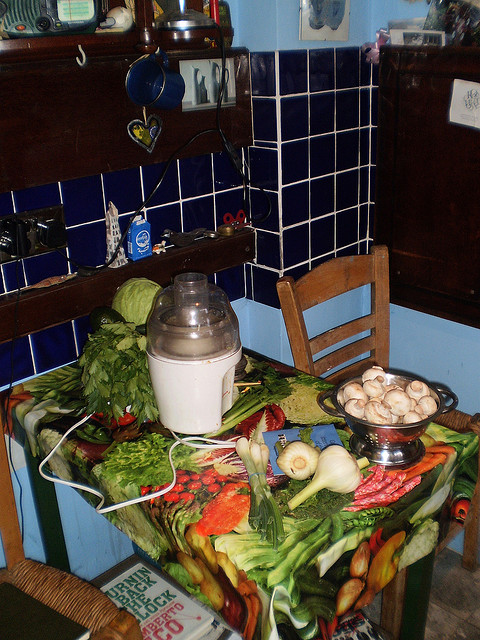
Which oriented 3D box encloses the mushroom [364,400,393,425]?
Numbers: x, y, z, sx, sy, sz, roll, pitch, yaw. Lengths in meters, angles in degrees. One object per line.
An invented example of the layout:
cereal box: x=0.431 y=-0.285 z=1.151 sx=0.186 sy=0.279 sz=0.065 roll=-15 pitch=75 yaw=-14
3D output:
mushroom: x=0.200 y=0.134 z=0.699 sx=0.033 sy=0.030 sz=0.032 roll=28 pitch=2 yaw=-38

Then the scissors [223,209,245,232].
scissors: x=-0.023 y=-0.316 z=1.525 sx=0.004 sy=0.059 sz=0.070 roll=6 pitch=24 yaw=43

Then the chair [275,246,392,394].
chair: x=0.238 y=-0.009 z=1.276 sx=0.218 sy=0.399 sz=0.239 roll=-27 pitch=46 yaw=-20

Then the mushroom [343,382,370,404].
mushroom: x=0.179 y=0.112 z=0.756 sx=0.025 sy=0.016 sz=0.031 roll=-5 pitch=38 yaw=1

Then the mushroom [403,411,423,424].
mushroom: x=0.251 y=0.144 z=0.702 sx=0.025 sy=0.016 sz=0.019 roll=-7 pitch=23 yaw=-7

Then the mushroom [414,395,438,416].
mushroom: x=0.275 y=0.127 z=0.719 sx=0.043 sy=0.017 sz=0.030 roll=-8 pitch=24 yaw=-9

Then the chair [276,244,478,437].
chair: x=0.314 y=0.031 z=1.143 sx=0.274 sy=0.699 sz=0.301 roll=-21 pitch=29 yaw=-35

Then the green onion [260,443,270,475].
green onion: x=0.042 y=0.231 z=0.791 sx=0.008 sy=0.036 sz=0.009 roll=-18 pitch=-5 yaw=39

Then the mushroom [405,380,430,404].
mushroom: x=0.270 y=0.107 z=0.742 sx=0.030 sy=0.031 sz=0.032 roll=-4 pitch=43 yaw=4

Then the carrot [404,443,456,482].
carrot: x=0.294 y=0.215 z=0.762 sx=0.077 sy=0.016 sz=0.042 roll=-17 pitch=18 yaw=-36

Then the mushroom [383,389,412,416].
mushroom: x=0.231 y=0.119 z=0.704 sx=0.034 sy=0.036 sz=0.042 roll=2 pitch=11 yaw=-4

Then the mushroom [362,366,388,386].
mushroom: x=0.233 y=0.092 z=0.822 sx=0.032 sy=0.025 sz=0.035 roll=-3 pitch=63 yaw=-3

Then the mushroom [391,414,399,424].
mushroom: x=0.231 y=0.147 z=0.719 sx=0.012 sy=0.012 sz=0.012 roll=-10 pitch=22 yaw=-14

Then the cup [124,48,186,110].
cup: x=-0.190 y=-0.541 z=1.103 sx=0.093 sy=0.155 sz=0.108 roll=13 pitch=32 yaw=13

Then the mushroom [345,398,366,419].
mushroom: x=0.175 y=0.132 z=0.731 sx=0.025 sy=0.010 sz=0.027 roll=4 pitch=56 yaw=7

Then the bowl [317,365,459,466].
bowl: x=0.237 y=0.159 z=0.766 sx=0.194 sy=0.107 sz=0.143 roll=2 pitch=21 yaw=13

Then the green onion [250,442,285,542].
green onion: x=0.036 y=0.247 z=0.695 sx=0.020 sy=0.020 sz=0.139 roll=-25 pitch=25 yaw=1

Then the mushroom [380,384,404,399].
mushroom: x=0.243 y=0.108 z=0.768 sx=0.012 sy=0.027 sz=0.025 roll=28 pitch=13 yaw=9

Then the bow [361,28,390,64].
bow: x=0.432 y=-0.874 z=1.544 sx=0.076 sy=0.077 sz=0.028 roll=15 pitch=21 yaw=-25
